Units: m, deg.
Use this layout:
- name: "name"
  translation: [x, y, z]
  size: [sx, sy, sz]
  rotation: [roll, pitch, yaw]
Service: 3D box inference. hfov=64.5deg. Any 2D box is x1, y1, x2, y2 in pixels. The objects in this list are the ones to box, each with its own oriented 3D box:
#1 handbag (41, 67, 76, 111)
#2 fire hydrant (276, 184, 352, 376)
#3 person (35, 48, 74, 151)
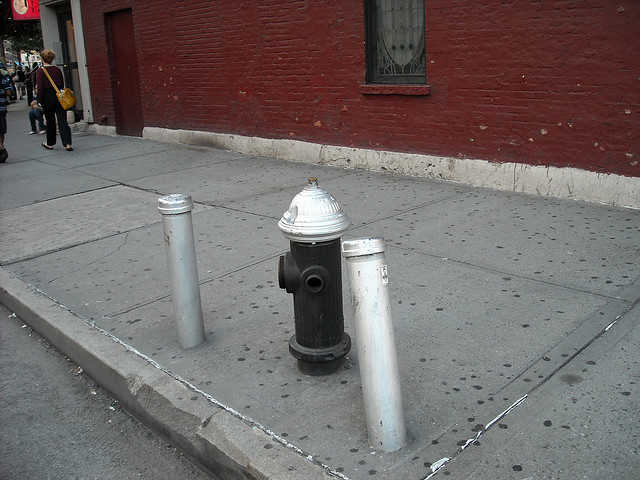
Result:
- name: "handbag"
  translation: [-6.303, -3.667, 12.345]
  size: [0.573, 0.986, 0.616]
  rotation: [-10, 21, -38]
- name: "fire hydrant"
  translation: [-0.049, 0.299, 3.627]
  size: [0.610, 1.282, 0.579]
  rotation: [-1, 7, 3]
- name: "person"
  translation: [-6.654, -3.506, 12.606]
  size: [0.912, 2.453, 1.433]
  rotation: [-2, 4, -26]
